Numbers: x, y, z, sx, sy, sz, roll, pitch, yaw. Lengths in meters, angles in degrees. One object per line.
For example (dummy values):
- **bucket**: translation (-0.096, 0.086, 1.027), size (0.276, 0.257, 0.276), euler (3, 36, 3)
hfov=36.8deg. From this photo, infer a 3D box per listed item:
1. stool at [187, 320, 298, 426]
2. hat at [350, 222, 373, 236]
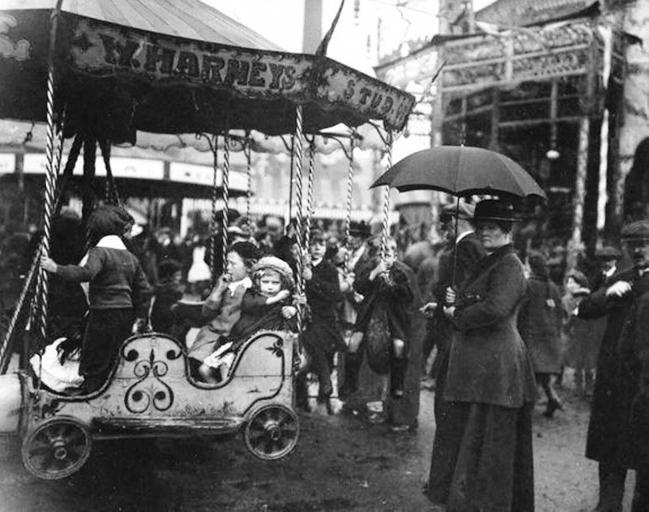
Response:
- **stool**: translation (-0.772, 0.864, 8.216), size (0.928, 0.744, 0.667), euler (-5, 24, -9)
- **hat**: translation (0.452, -0.305, 11.640), size (0.209, 0.061, 0.216), euler (1, 15, 7)
